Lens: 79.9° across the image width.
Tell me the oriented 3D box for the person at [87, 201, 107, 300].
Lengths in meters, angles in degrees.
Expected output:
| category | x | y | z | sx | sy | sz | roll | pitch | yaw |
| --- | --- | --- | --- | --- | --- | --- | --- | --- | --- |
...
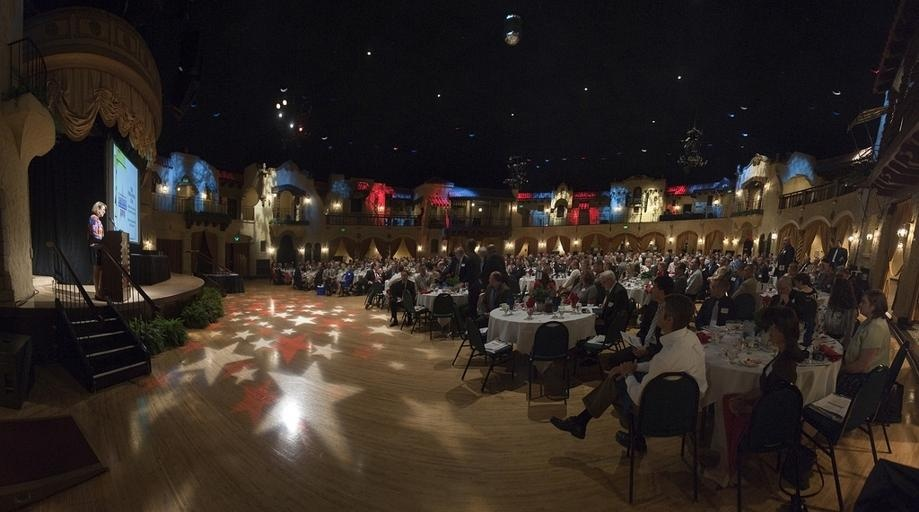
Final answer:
| category | x | y | z | sx | sy | sz | roll | pitch | yaw |
| --- | --- | --- | --- | --- | --- | --- | --- | --- | --- |
| person | -13.839 | -0.192 | 20.781 | 0.524 | 3.641 | 1.219 | -1 | 2 | -33 |
